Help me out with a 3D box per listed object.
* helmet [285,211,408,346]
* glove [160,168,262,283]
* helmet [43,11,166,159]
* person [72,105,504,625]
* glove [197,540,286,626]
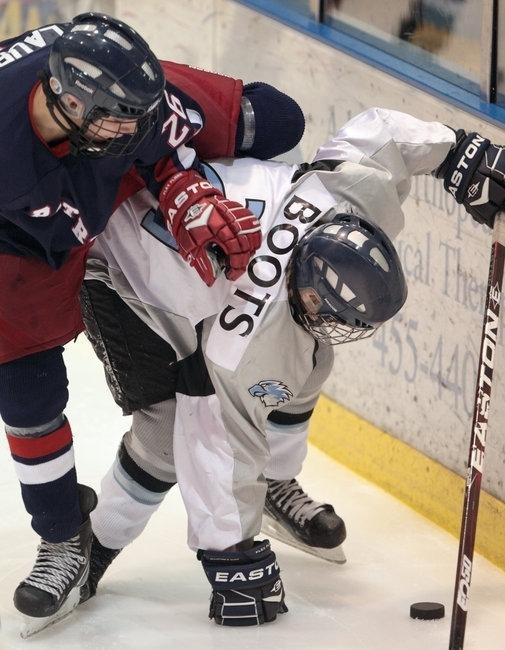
[{"bbox_3d":[0.168,-0.083,1.458,0.197,0.252,0.280,-13,34,-23],"label":"helmet"},{"bbox_3d":[-0.080,-0.193,1.465,0.163,0.112,0.240,-36,85,-27],"label":"glove"},{"bbox_3d":[-0.280,-0.443,1.360,0.230,0.237,0.163,8,32,10],"label":"helmet"},{"bbox_3d":[0.102,0.111,1.758,0.764,1.095,0.880,24,65,10],"label":"person"},{"bbox_3d":[-0.019,0.580,1.644,0.177,0.152,0.151,-9,-11,34],"label":"glove"}]
